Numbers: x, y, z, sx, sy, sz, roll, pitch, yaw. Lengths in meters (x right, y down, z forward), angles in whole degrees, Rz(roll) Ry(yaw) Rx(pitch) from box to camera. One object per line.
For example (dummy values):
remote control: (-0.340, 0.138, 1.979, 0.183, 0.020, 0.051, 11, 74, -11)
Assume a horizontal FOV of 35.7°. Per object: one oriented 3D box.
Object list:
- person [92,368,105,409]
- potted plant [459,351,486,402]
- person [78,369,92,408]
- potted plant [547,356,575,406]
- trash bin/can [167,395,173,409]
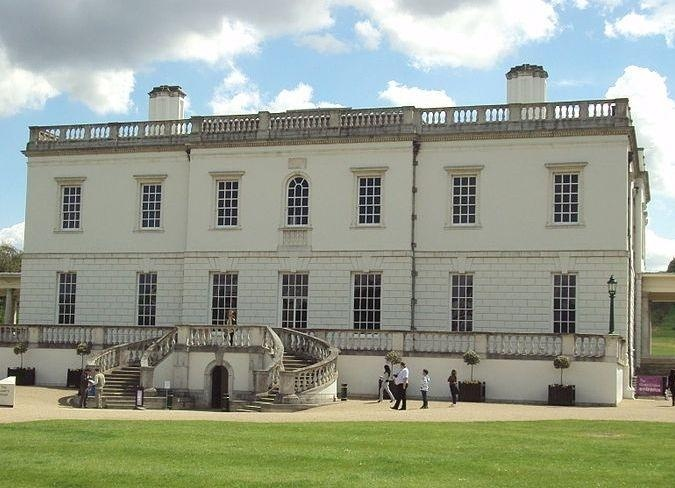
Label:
person: (-9.341, 5.608, 40.761, 0.333, 1.479, 0.983, 1, -9, -13)
potted plant: (5.314, 5.279, 41.810, 1.100, 1.996, 0.624, -2, -9, 9)
person: (-9.814, 5.589, 40.547, 0.453, 1.446, 0.724, 2, -9, -14)
potted plant: (8.742, 5.342, 41.074, 1.080, 1.954, 0.653, -2, -9, 11)
trash bin/can: (-6.710, 6.266, 41.630, 0.213, 0.545, 0.536, 1, -9, -9)
